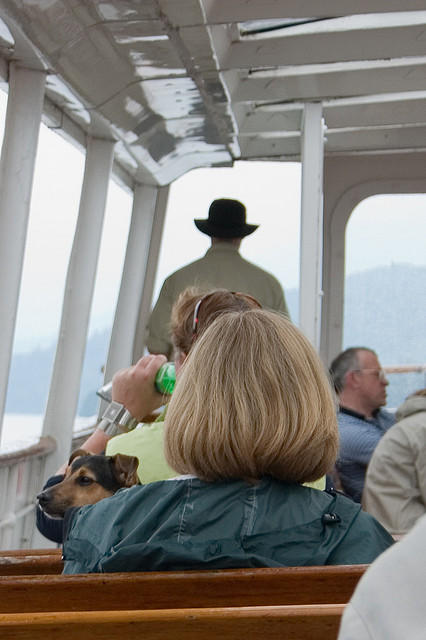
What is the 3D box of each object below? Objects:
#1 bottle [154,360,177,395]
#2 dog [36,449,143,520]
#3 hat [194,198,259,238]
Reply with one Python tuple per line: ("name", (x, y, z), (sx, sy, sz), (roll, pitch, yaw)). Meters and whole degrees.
("bottle", (-0.145, 0.171, 1.959), (0.063, 0.063, 0.110), (21, 13, -14))
("dog", (-0.342, 0.463, 1.881), (0.307, 0.116, 0.226), (-3, 6, -43))
("hat", (0.083, -0.547, 3.527), (0.235, 0.106, 0.253), (3, 20, 1))
